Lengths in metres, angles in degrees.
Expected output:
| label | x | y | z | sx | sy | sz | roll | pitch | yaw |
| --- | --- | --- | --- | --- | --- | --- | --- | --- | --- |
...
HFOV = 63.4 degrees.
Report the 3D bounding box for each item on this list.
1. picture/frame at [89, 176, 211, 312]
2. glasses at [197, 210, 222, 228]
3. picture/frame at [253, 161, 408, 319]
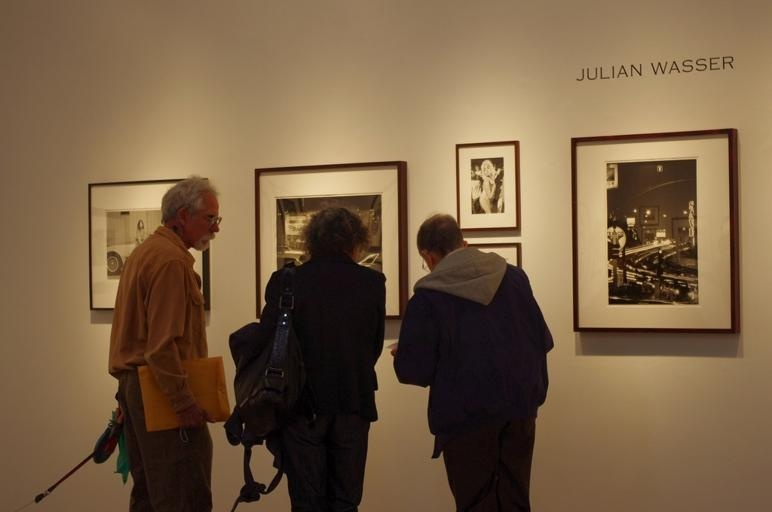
| label | x | y | z | sx | sy | sz | roll | pitch | yaw |
| --- | --- | --- | --- | --- | --- | --- | --- | --- | --- |
| picture/frame | -1.724 | -0.074 | 4.609 | 0.984 | 1.090 | 0.036 | -1 | 1 | 13 |
| glasses | -1.231 | -0.255 | 4.310 | 0.100 | 0.033 | 0.103 | 8 | -33 | -44 |
| picture/frame | -0.350 | -0.118 | 4.547 | 1.085 | 1.154 | 0.087 | -1 | -1 | 12 |
